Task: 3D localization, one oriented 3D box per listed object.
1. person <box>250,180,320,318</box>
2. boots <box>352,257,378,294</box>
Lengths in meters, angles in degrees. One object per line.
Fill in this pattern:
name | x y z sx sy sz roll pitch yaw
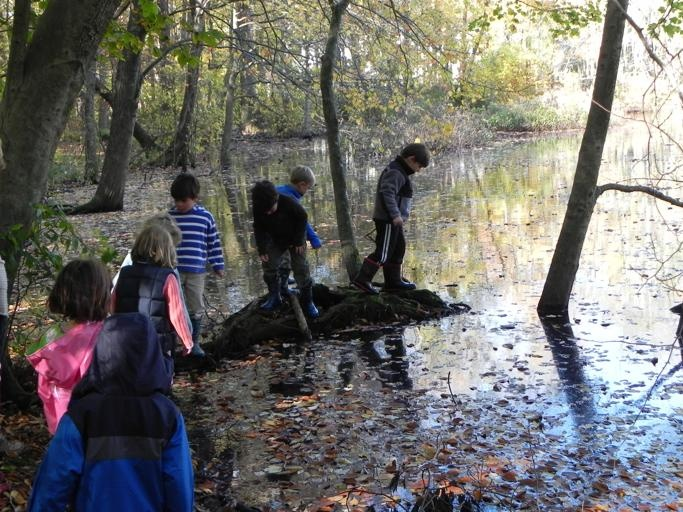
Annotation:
person | -0.694 -0.105 7.783 0.708 1.777 0.602 -3 26 3
boots | 0.324 0.241 8.460 0.294 0.316 0.386 -1 -1 -11
